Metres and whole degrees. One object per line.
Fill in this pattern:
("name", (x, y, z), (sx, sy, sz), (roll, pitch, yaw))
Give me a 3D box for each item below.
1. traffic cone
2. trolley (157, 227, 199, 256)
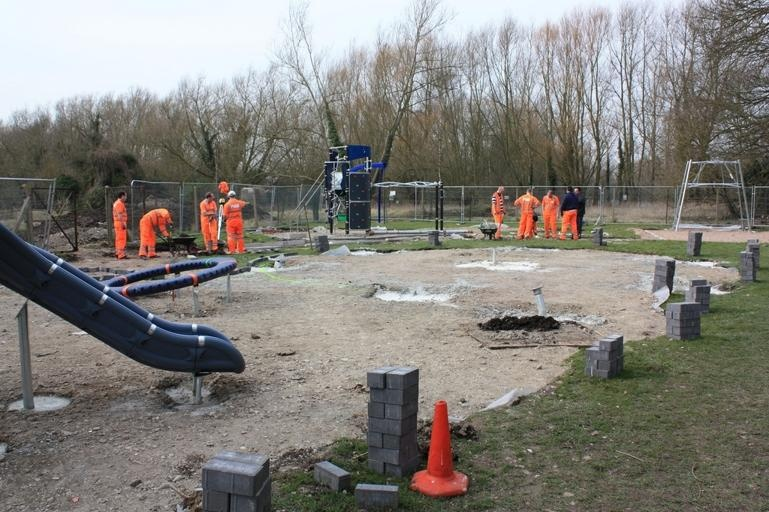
("traffic cone", (0.667, 2.202, 7.291), (0.851, 0.891, 0.839), (2, -3, -9))
("trolley", (-7.129, -0.449, 21.228), (2.069, 0.979, 0.924), (0, 2, 16))
